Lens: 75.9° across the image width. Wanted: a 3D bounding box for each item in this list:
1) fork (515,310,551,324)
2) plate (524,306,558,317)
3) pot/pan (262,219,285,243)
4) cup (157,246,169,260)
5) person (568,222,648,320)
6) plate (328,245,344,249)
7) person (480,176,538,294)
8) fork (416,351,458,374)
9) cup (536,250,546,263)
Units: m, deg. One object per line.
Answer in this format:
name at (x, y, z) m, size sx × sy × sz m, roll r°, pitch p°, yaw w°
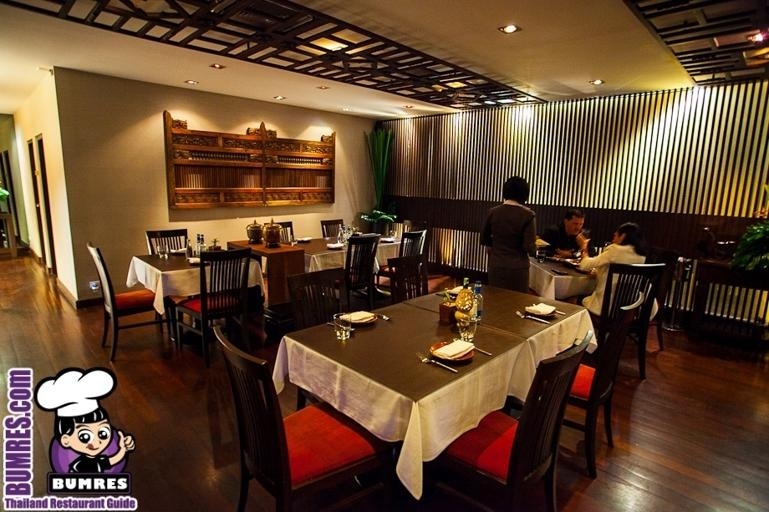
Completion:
fork at (1.473, 0.597, 4.750) m, size 0.050 × 0.034 × 0.250 m, roll -37°, pitch 38°, yaw -30°
plate at (1.554, 0.532, 4.812) m, size 0.152 × 0.050 × 0.155 m, roll 2°, pitch 7°, yaw 37°
pot/pan at (-1.557, -0.336, 7.057) m, size 0.340 × 0.444 × 0.334 m, roll -3°, pitch 11°, yaw -29°
cup at (-3.012, -0.019, 6.670) m, size 0.167 × 0.178 × 0.163 m, roll 3°, pitch 10°, yaw -1°
person at (2.751, 0.267, 6.045) m, size 0.652 × 1.345 × 0.784 m, roll 4°, pitch 9°, yaw -44°
plate at (-0.703, -0.111, 7.279) m, size 0.103 × 0.034 × 0.106 m, roll 9°, pitch 12°, yaw 41°
person at (1.592, 0.059, 6.084) m, size 0.701 × 1.987 × 0.635 m, roll 8°, pitch 23°, yaw 30°
fork at (0.457, 0.879, 4.041) m, size 0.265 × 0.038 × 0.054 m, roll 25°, pitch 40°, yaw 29°
cup at (2.114, 0.016, 6.550) m, size 0.127 × 0.196 × 0.130 m, roll -3°, pitch 13°, yaw 1°
